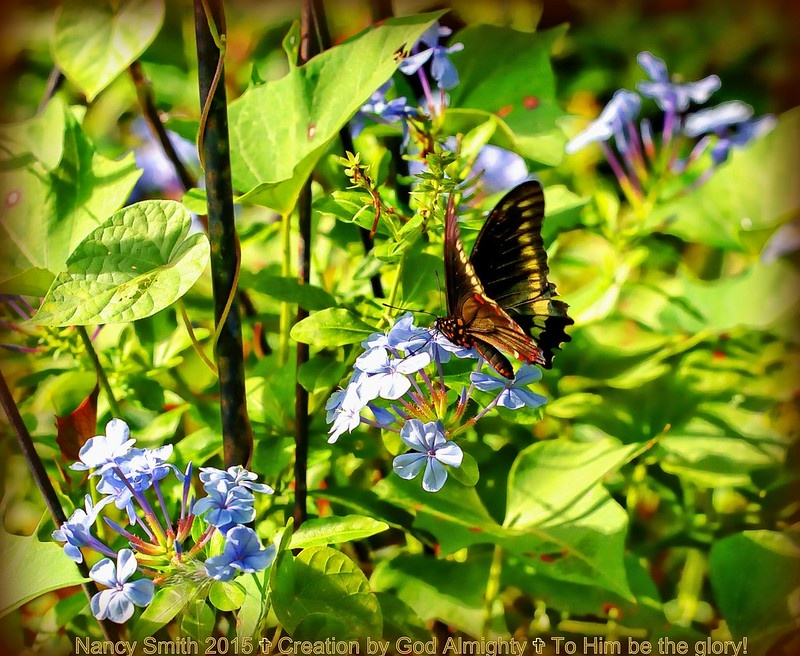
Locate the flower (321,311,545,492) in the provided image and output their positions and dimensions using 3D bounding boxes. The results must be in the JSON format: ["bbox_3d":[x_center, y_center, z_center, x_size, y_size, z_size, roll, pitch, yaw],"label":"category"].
[{"bbox_3d":[0.069,0.019,1.757,0.279,0.472,0.328,-2,19,0],"label":"flower"}]

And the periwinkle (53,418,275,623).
[{"bbox_3d":[-0.447,0.357,1.700,0.317,0.517,0.345,-9,14,-30],"label":"periwinkle"}]
